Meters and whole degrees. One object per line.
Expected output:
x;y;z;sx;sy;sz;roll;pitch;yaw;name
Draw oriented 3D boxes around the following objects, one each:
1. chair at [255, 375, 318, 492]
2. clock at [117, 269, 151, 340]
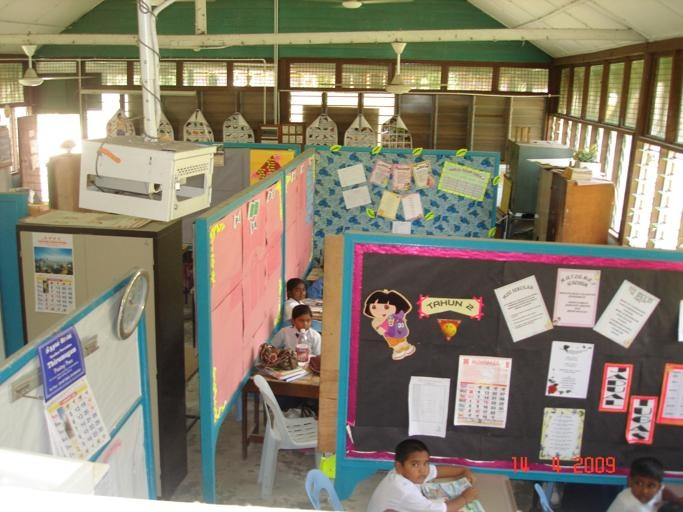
-0.425;1.317;4.366;0.452;0.982;0.448;1;10;-4;chair
-1.040;0.241;2.866;0.072;0.254;0.269;11;0;7;clock
